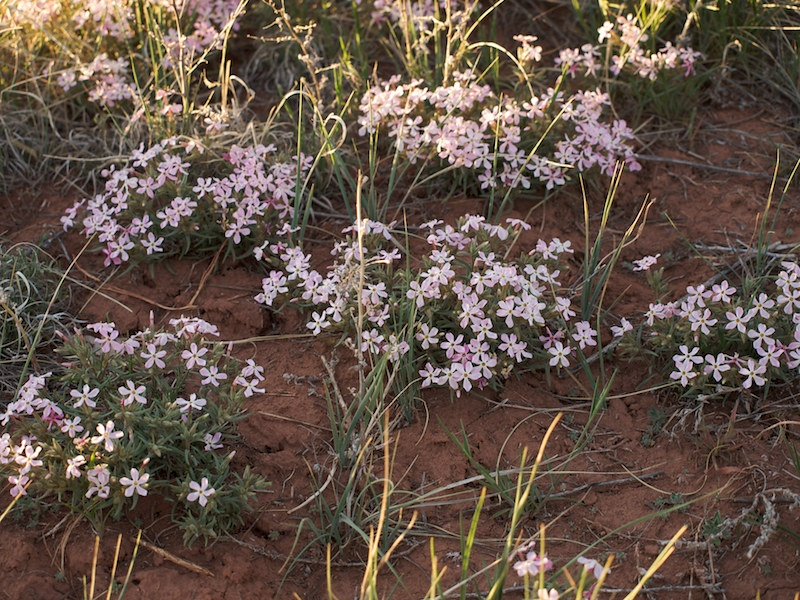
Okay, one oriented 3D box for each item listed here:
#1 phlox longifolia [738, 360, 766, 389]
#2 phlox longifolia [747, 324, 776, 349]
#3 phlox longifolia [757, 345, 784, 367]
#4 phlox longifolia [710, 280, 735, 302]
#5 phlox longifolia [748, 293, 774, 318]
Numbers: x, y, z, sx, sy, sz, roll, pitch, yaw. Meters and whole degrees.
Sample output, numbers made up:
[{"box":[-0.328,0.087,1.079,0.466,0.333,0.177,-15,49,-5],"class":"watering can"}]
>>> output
[{"box":[1.608,0.356,3.473,0.116,0.034,0.140,2,81,12],"class":"phlox longifolia"},{"box":[1.652,0.167,3.474,0.102,0.034,0.127,-10,81,-5],"class":"phlox longifolia"},{"box":[1.694,0.258,3.449,0.095,0.030,0.109,-27,74,6],"class":"phlox longifolia"},{"box":[1.530,-0.055,3.608,0.108,0.033,0.120,18,82,0],"class":"phlox longifolia"},{"box":[1.663,0.030,3.484,0.093,0.095,0.081,19,52,20],"class":"phlox longifolia"}]
